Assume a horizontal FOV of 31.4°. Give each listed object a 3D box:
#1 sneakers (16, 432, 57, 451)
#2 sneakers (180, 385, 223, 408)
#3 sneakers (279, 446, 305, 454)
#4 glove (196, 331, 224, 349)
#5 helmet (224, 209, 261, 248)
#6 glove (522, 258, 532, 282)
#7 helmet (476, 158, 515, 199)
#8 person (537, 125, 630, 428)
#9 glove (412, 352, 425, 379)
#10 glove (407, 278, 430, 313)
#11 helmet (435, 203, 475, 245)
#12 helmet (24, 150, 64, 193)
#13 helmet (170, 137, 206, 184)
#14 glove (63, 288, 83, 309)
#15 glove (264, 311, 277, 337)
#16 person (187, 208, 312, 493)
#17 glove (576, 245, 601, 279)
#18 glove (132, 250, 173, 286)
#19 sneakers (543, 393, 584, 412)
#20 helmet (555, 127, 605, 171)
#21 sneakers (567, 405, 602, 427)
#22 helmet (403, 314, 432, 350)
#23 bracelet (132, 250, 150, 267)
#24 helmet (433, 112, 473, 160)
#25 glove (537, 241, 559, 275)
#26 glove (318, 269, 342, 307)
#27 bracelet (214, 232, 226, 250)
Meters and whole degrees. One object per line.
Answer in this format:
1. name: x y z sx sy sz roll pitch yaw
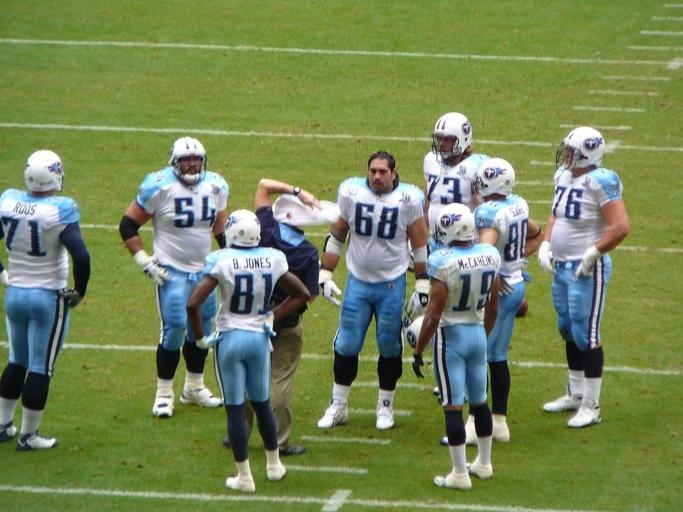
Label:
1. sneakers: -3.297 2.019 13.170 0.471 0.217 0.172 -3 57 -11
2. sneakers: -1.655 1.650 14.166 0.572 0.246 0.207 4 0 0
3. sneakers: -0.548 2.106 13.201 0.269 0.101 0.100 -2 8 -14
4. glove: -1.380 0.886 12.664 0.189 0.086 0.250 -18 -3 -41
5. helmet: -1.036 -0.294 12.639 0.303 0.338 0.408 -1 15 -9
6. glove: 2.314 0.180 15.208 0.081 0.306 0.180 -9 -11 37
7. helmet: 1.776 -0.892 13.572 0.440 0.445 0.356 9 18 32
8. person: 2.775 0.203 13.968 0.748 3.282 1.262 -2 13 -18
9. glove: 0.850 1.184 12.993 0.096 0.300 0.183 0 42 -4
10. glove: 0.882 0.456 13.856 0.259 0.367 0.132 9 -3 1
11. helmet: 1.191 -0.340 12.665 0.452 0.412 0.336 6 6 15
12. helmet: -3.273 -0.928 13.313 0.355 0.425 0.491 7 32 0
13. helmet: -1.744 -1.126 13.969 0.414 0.518 0.517 -2 12 -17
14. glove: -2.945 0.456 13.249 0.166 0.186 0.208 16 34 -39
15. glove: -0.760 0.728 12.720 0.081 0.222 0.159 4 20 -9
16. person: -1.008 0.978 12.572 1.185 2.817 0.785 1 12 -7
17. glove: 2.776 0.079 13.793 0.195 0.364 0.140 26 22 -20
18. glove: -2.231 0.149 14.330 0.476 0.203 0.193 42 46 -2
19. sneakers: 2.576 1.705 14.107 0.492 0.210 0.182 -1 3 -4
20. helmet: 2.761 -1.238 14.212 0.639 0.512 0.498 3 16 31
21. sneakers: 2.755 1.818 13.762 0.377 0.229 0.267 4 12 7
22. helmet: 0.812 0.809 13.073 0.287 0.320 0.246 21 21 -5
23. bracelet: -2.363 0.024 14.253 0.148 0.122 0.189 -25 60 -34
24. helmet: 1.316 -1.487 14.425 0.548 0.504 0.408 -24 24 -37
25. glove: 2.430 0.010 14.381 0.114 0.331 0.246 -4 -3 31
26. glove: -0.109 0.371 13.920 0.125 0.258 0.407 5 55 -23
27. bracelet: -1.466 -0.188 14.587 0.115 0.146 0.132 14 39 16
